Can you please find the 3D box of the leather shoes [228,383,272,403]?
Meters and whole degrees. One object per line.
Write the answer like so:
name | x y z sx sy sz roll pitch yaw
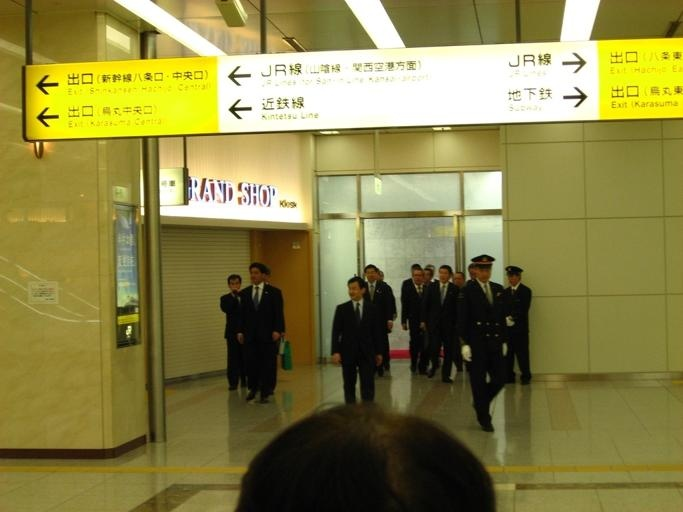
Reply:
leather shoes | -1.358 2.047 9.833 0.437 0.189 0.133 30 -5 -13

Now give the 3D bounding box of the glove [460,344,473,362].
glove | 1.389 1.089 7.387 0.178 0.167 0.128 -1 -14 -38

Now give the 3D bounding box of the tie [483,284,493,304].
tie | 1.664 0.425 7.548 0.099 0.223 0.116 -1 -1 -9

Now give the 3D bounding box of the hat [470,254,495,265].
hat | 1.639 0.050 7.715 0.213 0.104 0.346 -2 -1 17

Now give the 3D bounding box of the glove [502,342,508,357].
glove | 1.840 1.063 7.490 0.029 0.169 0.182 -2 -1 22

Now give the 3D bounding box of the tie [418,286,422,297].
tie | 1.399 0.626 11.867 0.097 0.112 0.026 2 -14 -12

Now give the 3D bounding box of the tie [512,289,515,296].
tie | 2.655 0.552 10.237 0.017 0.072 0.048 6 0 -41
